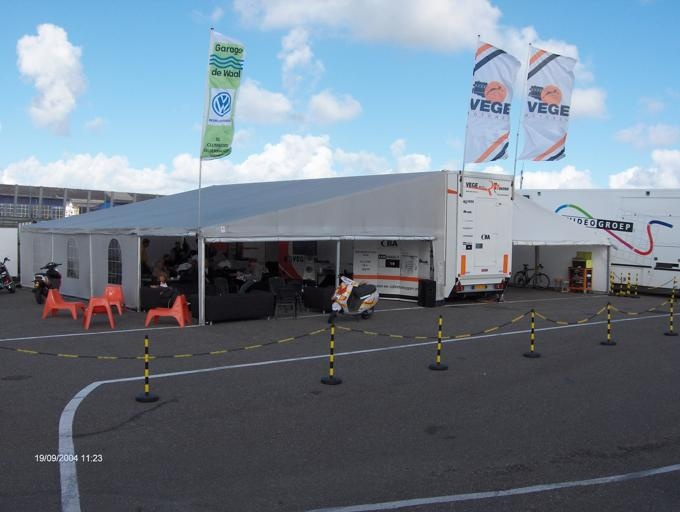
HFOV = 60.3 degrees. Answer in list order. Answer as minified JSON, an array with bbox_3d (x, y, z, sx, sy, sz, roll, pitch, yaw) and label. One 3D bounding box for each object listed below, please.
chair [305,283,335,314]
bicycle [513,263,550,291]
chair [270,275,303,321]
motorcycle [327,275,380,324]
[{"bbox_3d":[-0.579,1.239,17.376,0.728,0.672,0.760,-4,7,-44],"label":"chair"},{"bbox_3d":[8.510,0.956,26.178,0.627,1.013,1.567,1,1,-44],"label":"bicycle"},{"bbox_3d":[-1.410,1.187,16.969,0.913,1.371,0.955,1,-1,-16],"label":"chair"},{"bbox_3d":[0.276,1.180,15.967,1.402,1.024,0.813,3,0,-43],"label":"motorcycle"}]
